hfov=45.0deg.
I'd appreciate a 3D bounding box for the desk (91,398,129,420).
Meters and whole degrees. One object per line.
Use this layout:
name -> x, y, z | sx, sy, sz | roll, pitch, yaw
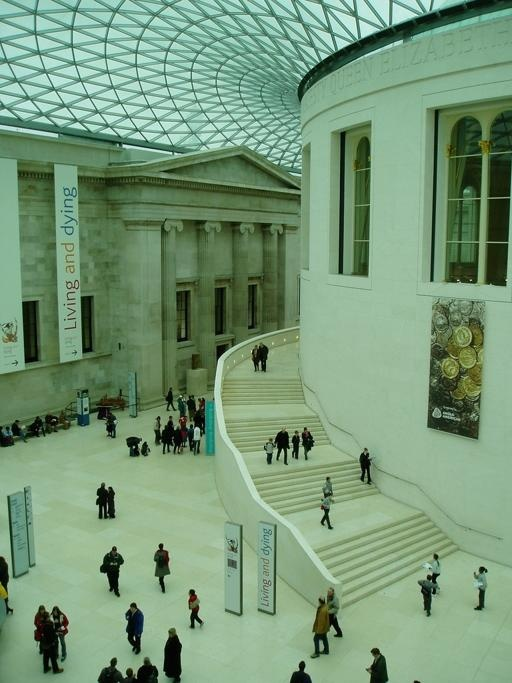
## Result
desk -> -7.188, 3.067, 29.615 | 0.946, 0.703, 0.987 | 5, 13, 24
